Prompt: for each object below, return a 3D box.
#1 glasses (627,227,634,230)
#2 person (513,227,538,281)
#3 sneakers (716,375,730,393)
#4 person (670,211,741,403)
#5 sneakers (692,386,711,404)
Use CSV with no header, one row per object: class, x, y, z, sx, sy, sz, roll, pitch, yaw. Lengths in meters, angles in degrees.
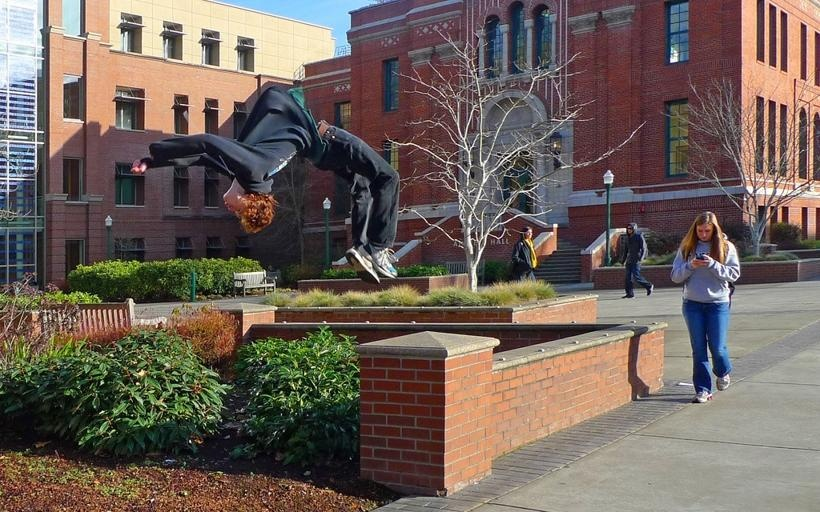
glasses,7.245,-0.933,27.016,0.146,0.086,0.174,-1,-6,13
person,3.534,-0.097,25.554,0.707,1.610,1.330,0,0,7
sneakers,5.716,2.275,15.024,0.142,0.400,0.160,14,-31,37
person,5.307,0.901,14.756,1.121,3.387,0.650,0,1,10
sneakers,5.242,2.479,14.644,0.366,0.261,0.232,0,0,3
